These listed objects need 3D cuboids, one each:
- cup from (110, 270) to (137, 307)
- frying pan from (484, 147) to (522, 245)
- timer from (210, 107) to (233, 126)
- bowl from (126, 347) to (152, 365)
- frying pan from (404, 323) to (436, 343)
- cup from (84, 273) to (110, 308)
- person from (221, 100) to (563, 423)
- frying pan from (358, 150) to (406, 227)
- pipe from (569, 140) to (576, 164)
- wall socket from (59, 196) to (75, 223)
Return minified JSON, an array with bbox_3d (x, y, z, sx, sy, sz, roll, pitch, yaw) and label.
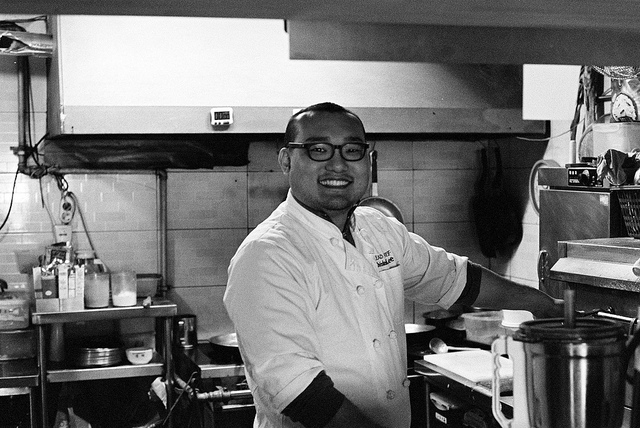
[{"bbox_3d":[-1.003,0.382,3.651,0.150,0.180,0.158,-1,-3,0],"label":"cup"},{"bbox_3d":[1.069,-0.099,4.311,0.189,0.570,0.087,0,-13,-35],"label":"frying pan"},{"bbox_3d":[-0.485,-0.475,3.475,0.089,0.080,0.036,-1,0,-13],"label":"timer"},{"bbox_3d":[-0.918,0.724,3.613,0.082,0.055,0.095,0,-9,1],"label":"bowl"},{"bbox_3d":[0.553,0.650,3.962,0.168,0.069,0.512,-1,1,9],"label":"frying pan"},{"bbox_3d":[-1.120,0.385,3.598,0.137,0.170,0.157,1,-1,6],"label":"cup"},{"bbox_3d":[0.119,0.149,2.056,0.804,0.948,0.519,-2,1,-35],"label":"person"},{"bbox_3d":[0.377,-0.133,4.043,0.266,0.458,0.063,-8,10,-27],"label":"frying pan"},{"bbox_3d":[1.087,-0.271,3.081,0.022,0.102,0.092,-1,1,22],"label":"pipe"},{"bbox_3d":[-1.366,-0.022,3.848,0.065,0.138,0.046,6,-6,-6],"label":"wall socket"}]
